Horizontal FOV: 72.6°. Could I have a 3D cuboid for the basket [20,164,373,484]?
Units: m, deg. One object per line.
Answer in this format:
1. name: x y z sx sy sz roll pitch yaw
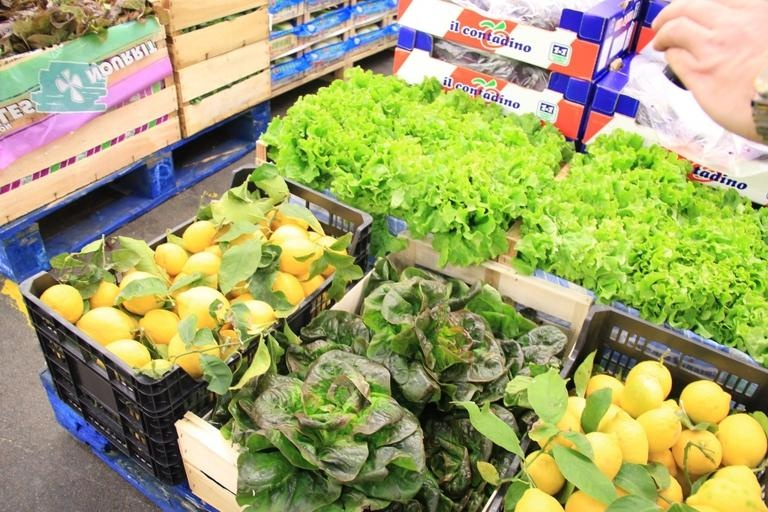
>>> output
1. basket: -0.682 0.364 2.824 1.121 0.729 1.661 26 50 29
